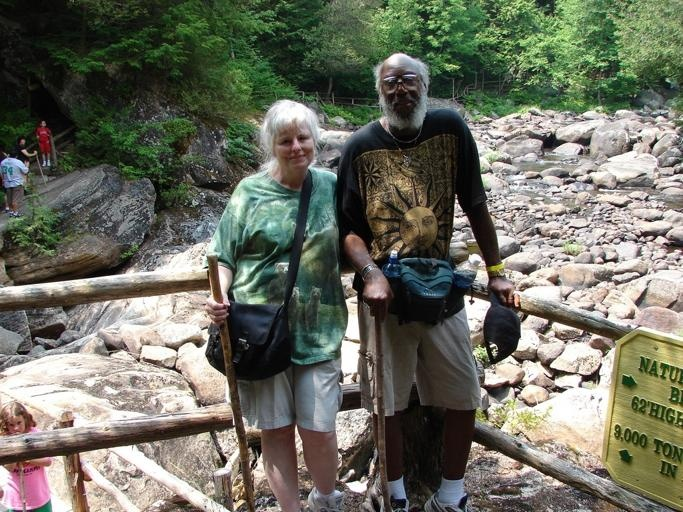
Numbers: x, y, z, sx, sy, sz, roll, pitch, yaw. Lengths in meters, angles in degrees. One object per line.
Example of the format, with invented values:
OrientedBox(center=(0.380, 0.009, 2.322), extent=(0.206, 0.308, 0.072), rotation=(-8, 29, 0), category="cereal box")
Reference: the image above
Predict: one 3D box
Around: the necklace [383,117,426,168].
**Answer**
OrientedBox(center=(0.369, -0.629, 2.898), extent=(0.171, 0.284, 0.150), rotation=(-10, 6, 2), category="necklace")

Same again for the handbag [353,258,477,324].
OrientedBox(center=(0.487, 0.167, 2.810), extent=(0.512, 0.442, 0.298), rotation=(-2, 18, 2), category="handbag")

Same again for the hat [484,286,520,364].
OrientedBox(center=(0.913, 0.486, 2.896), extent=(0.195, 0.498, 0.356), rotation=(3, 19, 18), category="hat")

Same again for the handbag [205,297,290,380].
OrientedBox(center=(-0.477, 0.425, 2.622), extent=(0.464, 0.420, 0.234), rotation=(1, 2, 13), category="handbag")

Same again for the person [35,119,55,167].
OrientedBox(center=(-7.961, -3.000, 13.543), extent=(0.381, 1.194, 0.757), rotation=(-13, 21, -28), category="person")

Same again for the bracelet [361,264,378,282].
OrientedBox(center=(0.141, 0.090, 2.702), extent=(0.034, 0.089, 0.077), rotation=(51, 28, 19), category="bracelet")

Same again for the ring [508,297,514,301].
OrientedBox(center=(0.975, 0.249, 2.897), extent=(0.023, 0.022, 0.023), rotation=(0, -5, 0), category="ring")

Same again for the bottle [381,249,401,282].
OrientedBox(center=(0.268, 0.041, 2.743), extent=(0.091, 0.144, 0.127), rotation=(-1, 18, 7), category="bottle")

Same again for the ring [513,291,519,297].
OrientedBox(center=(1.018, 0.223, 2.952), extent=(0.033, 0.033, 0.035), rotation=(3, 9, 0), category="ring")

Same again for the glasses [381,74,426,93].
OrientedBox(center=(0.336, -0.984, 2.853), extent=(0.221, 0.093, 0.089), rotation=(-1, 18, 4), category="glasses")
